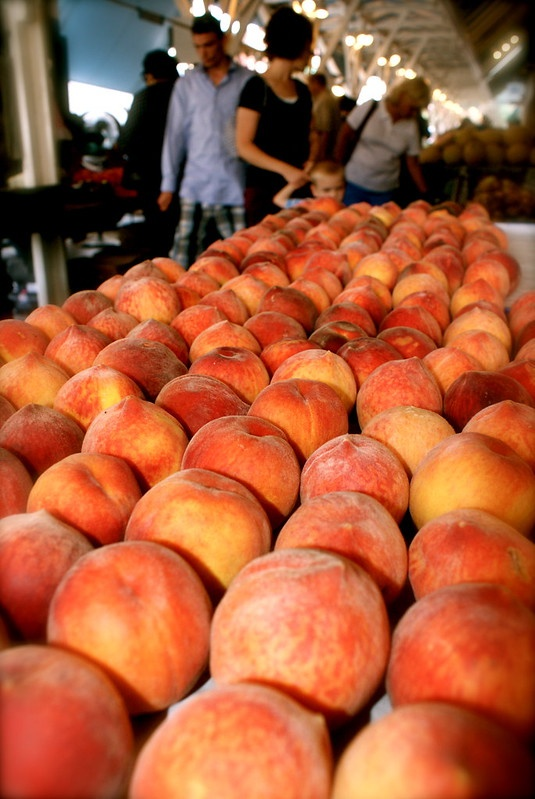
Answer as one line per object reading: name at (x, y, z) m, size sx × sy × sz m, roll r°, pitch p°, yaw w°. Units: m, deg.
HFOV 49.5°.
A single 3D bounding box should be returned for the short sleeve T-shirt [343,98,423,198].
short sleeve T-shirt at (1.003, -2.173, 5.030) m, size 0.590 × 0.726 × 0.340 m, roll 9°, pitch 33°, yaw 6°
